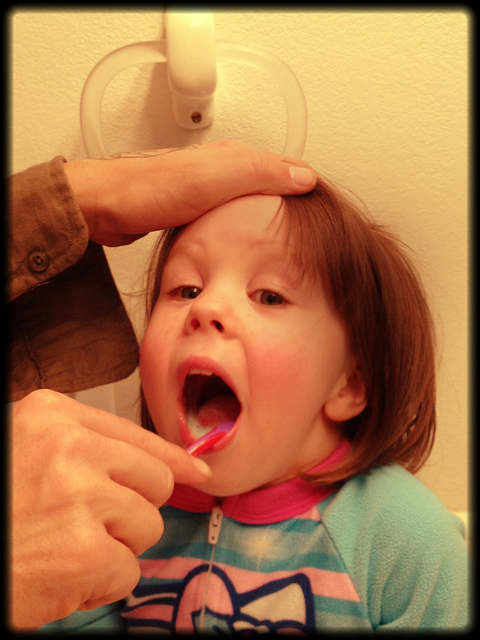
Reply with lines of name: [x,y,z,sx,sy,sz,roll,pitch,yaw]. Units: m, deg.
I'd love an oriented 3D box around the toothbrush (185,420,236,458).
toothbrush: [-0.037,0.150,0.714,0.066,0.044,0.037,-7,110,-31]

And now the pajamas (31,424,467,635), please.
pajamas: [0.011,0.325,0.795,0.566,0.191,0.202,-6,76,0]
